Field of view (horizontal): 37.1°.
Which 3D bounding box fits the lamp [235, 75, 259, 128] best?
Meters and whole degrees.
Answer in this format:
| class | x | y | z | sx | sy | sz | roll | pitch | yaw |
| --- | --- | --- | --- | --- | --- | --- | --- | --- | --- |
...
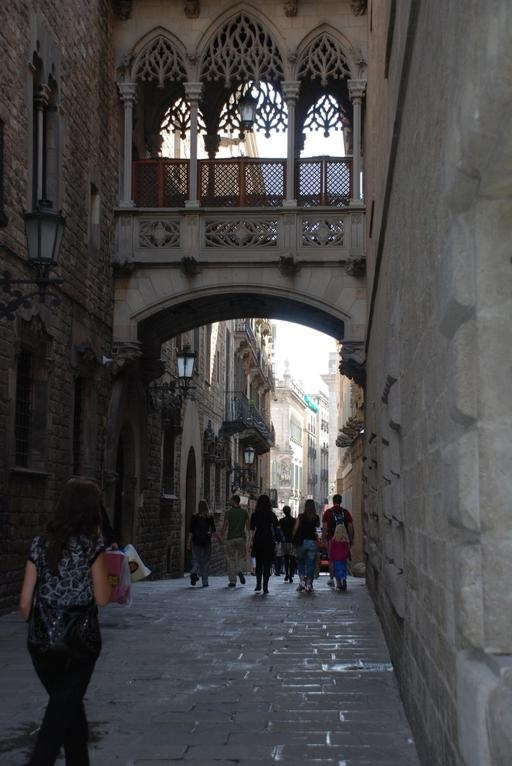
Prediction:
| class | x | y | z | sx | sy | sz | roll | pitch | yaw |
| --- | --- | --- | --- | --- | --- | --- | --- | --- | --- |
| lamp | -0.199 | -6.492 | 17.897 | 0.455 | 0.974 | 0.695 | 3 | -8 | -19 |
